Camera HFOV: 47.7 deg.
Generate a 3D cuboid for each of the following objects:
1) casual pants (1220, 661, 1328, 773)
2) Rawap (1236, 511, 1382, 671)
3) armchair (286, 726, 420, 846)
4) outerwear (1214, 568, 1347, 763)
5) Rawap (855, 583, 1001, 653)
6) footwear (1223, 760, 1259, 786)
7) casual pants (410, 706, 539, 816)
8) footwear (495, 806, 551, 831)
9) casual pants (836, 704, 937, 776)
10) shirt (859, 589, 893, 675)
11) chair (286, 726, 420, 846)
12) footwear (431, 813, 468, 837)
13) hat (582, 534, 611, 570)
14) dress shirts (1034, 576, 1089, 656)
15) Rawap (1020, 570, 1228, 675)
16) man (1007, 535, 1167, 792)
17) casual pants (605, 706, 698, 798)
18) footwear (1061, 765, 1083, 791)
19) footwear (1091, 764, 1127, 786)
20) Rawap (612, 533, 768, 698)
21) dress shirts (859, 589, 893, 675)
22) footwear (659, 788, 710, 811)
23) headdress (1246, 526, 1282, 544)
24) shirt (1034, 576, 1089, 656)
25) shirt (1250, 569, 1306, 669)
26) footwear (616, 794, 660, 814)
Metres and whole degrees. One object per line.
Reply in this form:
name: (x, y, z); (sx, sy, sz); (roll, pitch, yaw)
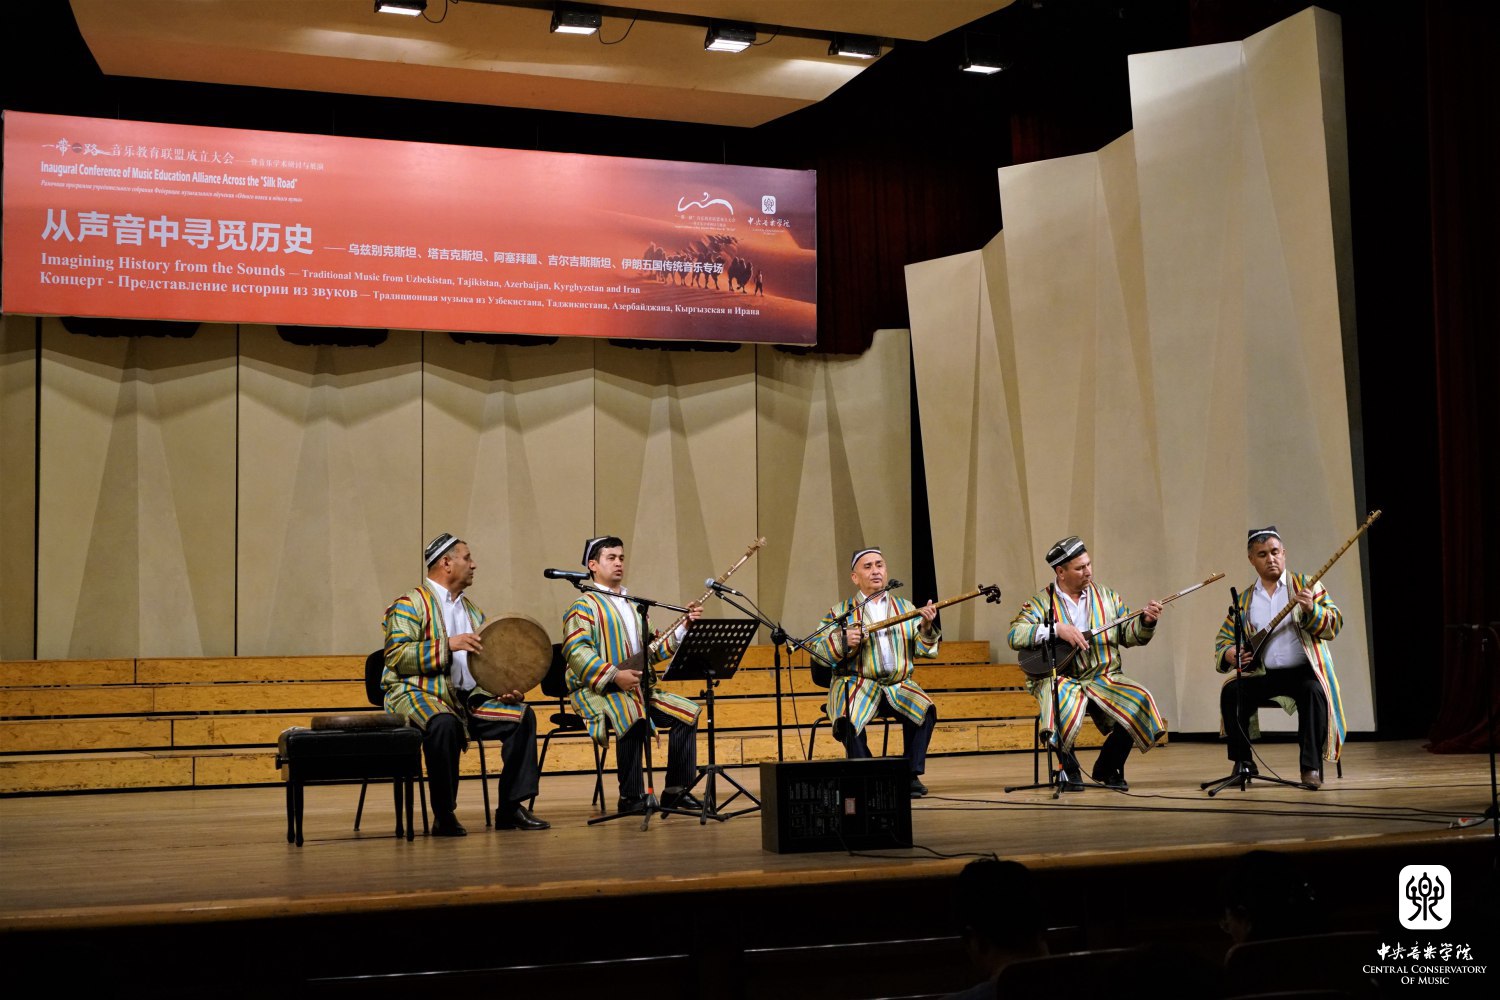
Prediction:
casual pants: (3.472, 1.435, 11.266); (0.587, 0.685, 0.468); (-17, -55, 41)
Rawap: (3.872, 0.639, 11.820); (0.129, 1.308, 0.372); (22, 22, -33)
armchair: (-2.393, 1.698, 10.223); (0.821, 0.682, 0.670); (1, -8, -13)
outerwear: (3.503, 1.389, 11.074); (0.686, 0.786, 0.569); (-3, -11, 34)
Rawap: (1.379, 0.908, 12.884); (1.809, 0.241, 0.321); (-17, -25, 35)
footwear: (3.140, 1.765, 10.866); (0.117, 0.168, 0.370); (0, 4, 27)
casual pants: (-1.643, 1.634, 10.468); (0.705, 0.808, 0.626); (9, -37, -28)
footwear: (-1.370, 1.934, 10.347); (0.332, 0.137, 0.142); (-3, -7, 7)
casual pants: (0.948, 1.634, 11.491); (0.538, 0.716, 0.548); (-3, -20, 8)
shirt: (0.847, 0.911, 11.452); (0.300, 0.509, 0.122); (1, 2, -12)
chair: (-2.407, 1.683, 10.233); (0.746, 0.618, 0.728); (3, -15, -17)
footwear: (-1.790, 1.938, 10.096); (0.275, 0.186, 0.098); (0, -4, -4)
hat: (-1.015, 0.326, 10.893); (0.235, 0.228, 0.061); (-5, 37, -26)
dress shirts: (2.141, 0.756, 11.202); (0.106, 0.444, 0.311); (0, -4, -28)
Rawap: (2.288, 0.914, 11.246); (0.987, 0.496, 0.367); (-3, -8, 11)
man: (2.244, 1.064, 11.227); (1.019, 1.661, 0.963); (-5, -8, 25)
casual pants: (-0.625, 1.620, 10.930); (0.661, 0.821, 0.302); (6, -39, -12)
footwear: (2.086, 1.810, 11.036); (0.153, 0.156, 0.209); (-4, -8, 17)
footwear: (2.341, 1.800, 11.039); (0.222, 0.157, 0.312); (-3, -8, 10)
Rawap: (-0.476, 0.880, 12.679); (1.786, 0.142, 0.249); (-42, -1, -17)
dress shirts: (0.856, 0.906, 11.462); (0.300, 0.509, 0.122); (1, 2, -12)
footwear: (-0.410, 1.860, 10.562); (0.275, 0.128, 0.117); (0, -5, 7)
headdress: (3.365, 0.211, 11.167); (0.183, 0.133, 0.187); (-9, -19, 28)
shirt: (2.142, 0.757, 11.214); (0.106, 0.444, 0.311); (0, -4, -28)
shirt: (3.432, 0.787, 11.054); (0.109, 0.626, 0.311); (-10, 34, -29)
footwear: (-0.680, 1.875, 10.437); (0.127, 0.141, 0.335); (10, -22, -42)
